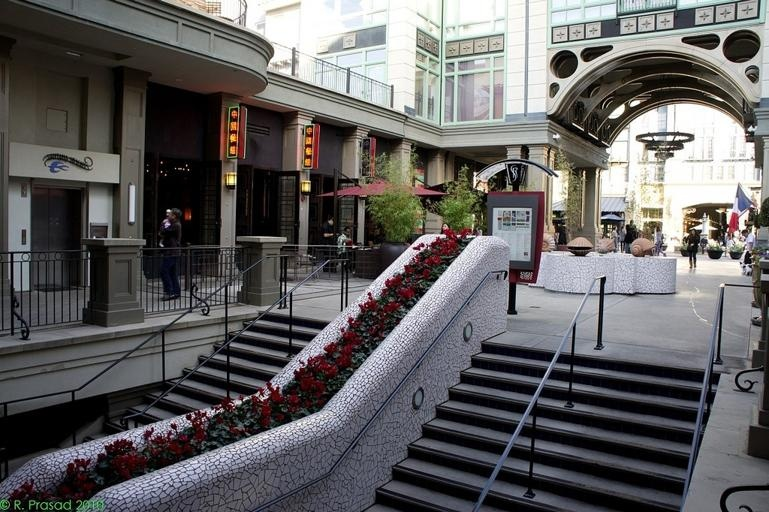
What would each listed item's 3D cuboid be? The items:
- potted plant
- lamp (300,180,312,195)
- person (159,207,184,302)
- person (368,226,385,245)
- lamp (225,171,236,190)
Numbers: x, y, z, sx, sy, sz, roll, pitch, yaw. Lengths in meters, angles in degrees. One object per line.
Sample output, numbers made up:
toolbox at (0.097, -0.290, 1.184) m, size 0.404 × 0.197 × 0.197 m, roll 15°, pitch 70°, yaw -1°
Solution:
potted plant at (0.395, -1.248, 18.943) m, size 1.438 × 3.860 × 1.851 m, roll 9°, pitch -8°, yaw -8°
lamp at (-3.029, -2.606, 21.915) m, size 0.420 × 0.546 × 0.199 m, roll -3°, pitch 6°, yaw -33°
person at (-5.015, 0.004, 13.438) m, size 0.454 × 2.135 × 1.213 m, roll -2°, pitch 6°, yaw -21°
person at (-0.308, -0.816, 23.703) m, size 0.852 × 0.871 × 0.459 m, roll 0°, pitch -2°, yaw -24°
lamp at (-5.159, -2.532, 19.378) m, size 0.208 × 0.583 × 0.454 m, roll 4°, pitch 7°, yaw 36°
